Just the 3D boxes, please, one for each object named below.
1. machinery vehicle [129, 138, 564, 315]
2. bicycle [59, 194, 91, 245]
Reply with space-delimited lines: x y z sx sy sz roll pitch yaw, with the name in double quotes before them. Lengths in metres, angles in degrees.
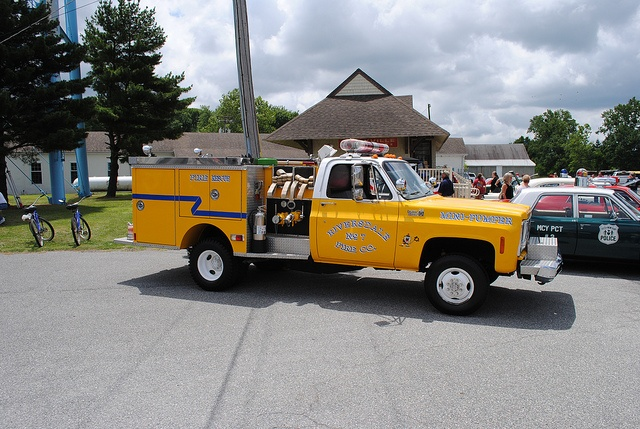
"machinery vehicle" 0.505 0.080 9.586 8.039 3.035 3.496 1 4 23
"bicycle" -7.967 0.244 14.612 0.947 1.354 2.171 -15 5 -30
